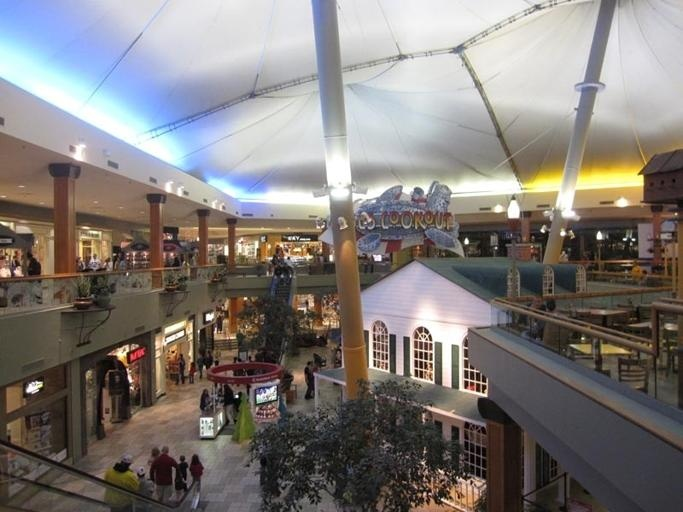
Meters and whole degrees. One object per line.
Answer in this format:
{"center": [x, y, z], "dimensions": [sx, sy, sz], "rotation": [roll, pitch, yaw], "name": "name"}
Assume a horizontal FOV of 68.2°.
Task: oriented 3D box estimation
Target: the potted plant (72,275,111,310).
{"center": [-8.202, 1.209, 16.608], "dimensions": [0.924, 0.814, 1.111], "rotation": [1, -2, -21], "name": "potted plant"}

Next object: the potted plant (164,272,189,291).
{"center": [-7.589, 1.194, 23.218], "dimensions": [0.735, 0.687, 0.887], "rotation": [-1, 1, 5], "name": "potted plant"}

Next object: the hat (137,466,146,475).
{"center": [-5.459, 5.917, 13.751], "dimensions": [0.129, 0.241, 0.282], "rotation": [-3, 3, -13], "name": "hat"}
